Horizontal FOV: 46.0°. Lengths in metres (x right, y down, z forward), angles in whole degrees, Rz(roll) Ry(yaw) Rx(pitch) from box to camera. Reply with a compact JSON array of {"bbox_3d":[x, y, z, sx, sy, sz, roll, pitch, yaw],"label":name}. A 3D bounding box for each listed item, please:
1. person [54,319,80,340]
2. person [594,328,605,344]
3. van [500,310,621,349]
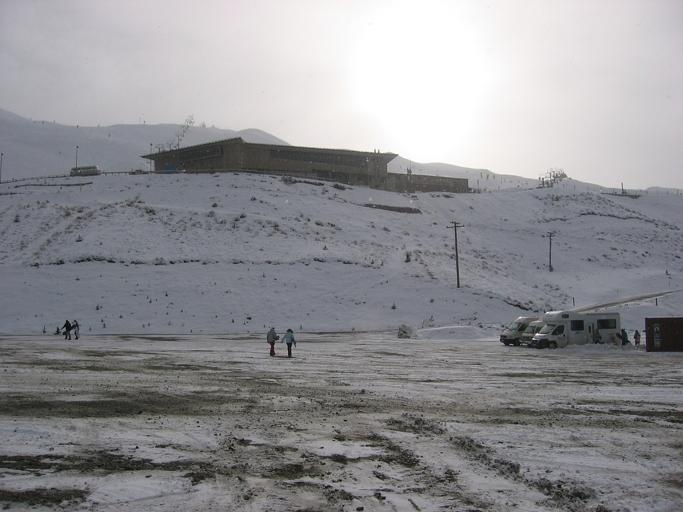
[{"bbox_3d":[-16.963,4.537,49.355,0.845,1.318,0.518,14,0,-10],"label":"person"},{"bbox_3d":[16.082,4.950,50.277,0.627,0.870,0.431,0,2,-21],"label":"person"},{"bbox_3d":[14.279,4.580,50.536,4.317,1.634,3.616,3,-7,-11],"label":"van"}]
